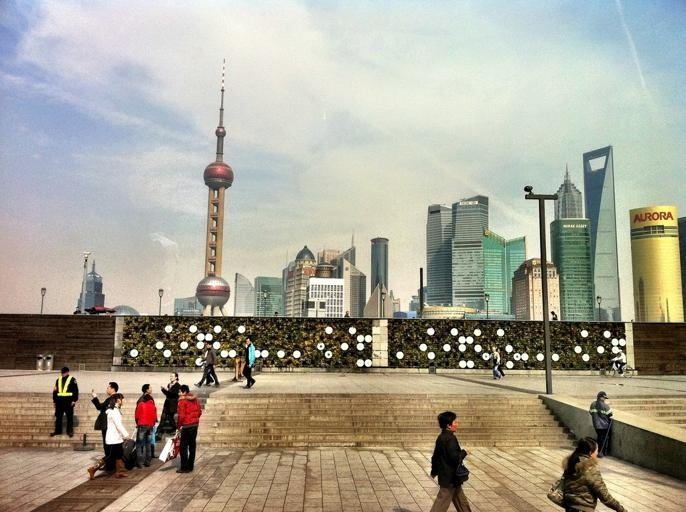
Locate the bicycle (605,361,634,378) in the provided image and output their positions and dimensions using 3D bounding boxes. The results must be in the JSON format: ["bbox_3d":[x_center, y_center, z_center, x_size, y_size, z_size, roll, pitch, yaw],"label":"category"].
[{"bbox_3d":[15.757,6.382,36.373,1.527,0.960,0.758,0,-3,-4],"label":"bicycle"}]

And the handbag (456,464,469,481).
[{"bbox_3d":[2.951,5.307,15.859,0.271,0.536,0.604,0,0,15],"label":"handbag"}]

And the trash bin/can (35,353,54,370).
[{"bbox_3d":[-16.363,5.839,35.682,1.064,1.070,0.740,1,-14,-17],"label":"trash bin/can"}]

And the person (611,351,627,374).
[{"bbox_3d":[15.571,5.994,36.302,0.755,1.417,1.165,0,0,21],"label":"person"}]
